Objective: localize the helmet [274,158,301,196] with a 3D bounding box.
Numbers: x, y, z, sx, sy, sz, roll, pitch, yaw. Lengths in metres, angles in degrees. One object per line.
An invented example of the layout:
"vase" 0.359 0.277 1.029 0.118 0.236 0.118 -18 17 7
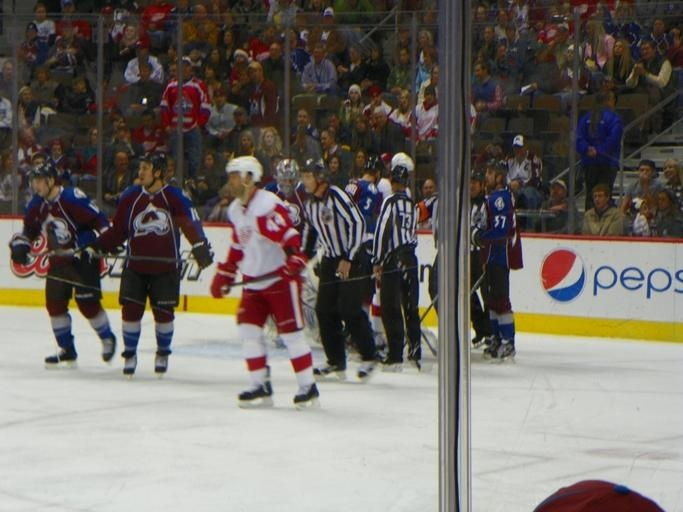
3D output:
"helmet" -0.285 -0.429 6.514 0.126 0.190 0.177 1 -14 -5

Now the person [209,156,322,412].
"person" -0.394 0.129 6.448 0.499 1.307 0.341 0 1 15

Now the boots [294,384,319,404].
"boots" -0.175 0.716 6.540 0.144 0.072 0.076 -18 10 -29

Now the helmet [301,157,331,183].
"helmet" -0.130 -0.484 6.532 0.130 0.125 0.097 -41 30 -26

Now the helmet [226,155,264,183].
"helmet" -0.496 -0.469 6.400 0.156 0.161 0.130 12 -3 -8

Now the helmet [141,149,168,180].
"helmet" -1.053 -0.521 6.671 0.154 0.167 0.125 -22 21 -33

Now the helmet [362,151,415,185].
"helmet" 0.264 -0.486 6.500 0.219 0.135 0.155 0 28 3

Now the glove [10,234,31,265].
"glove" -1.789 -0.051 6.789 0.115 0.171 0.043 -20 -6 31

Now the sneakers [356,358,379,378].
"sneakers" 0.139 0.593 6.579 0.082 0.118 0.036 36 2 0

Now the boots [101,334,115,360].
"boots" -1.303 0.505 6.847 0.059 0.154 0.062 -1 10 10

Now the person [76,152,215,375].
"person" -1.036 0.047 6.634 0.656 1.198 0.254 1 1 25

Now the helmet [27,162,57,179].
"helmet" -1.665 -0.479 6.823 0.120 0.099 0.113 -29 -30 34

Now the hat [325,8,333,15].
"hat" -0.063 -1.306 6.528 0.036 0.029 0.039 4 9 16

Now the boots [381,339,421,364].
"boots" 0.339 0.507 6.600 0.161 0.110 0.103 0 -1 -16

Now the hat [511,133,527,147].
"hat" 0.988 -0.642 6.799 0.046 0.051 0.078 -3 -29 17

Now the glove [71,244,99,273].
"glove" -1.401 -0.005 6.693 0.120 0.113 0.121 2 0 23
